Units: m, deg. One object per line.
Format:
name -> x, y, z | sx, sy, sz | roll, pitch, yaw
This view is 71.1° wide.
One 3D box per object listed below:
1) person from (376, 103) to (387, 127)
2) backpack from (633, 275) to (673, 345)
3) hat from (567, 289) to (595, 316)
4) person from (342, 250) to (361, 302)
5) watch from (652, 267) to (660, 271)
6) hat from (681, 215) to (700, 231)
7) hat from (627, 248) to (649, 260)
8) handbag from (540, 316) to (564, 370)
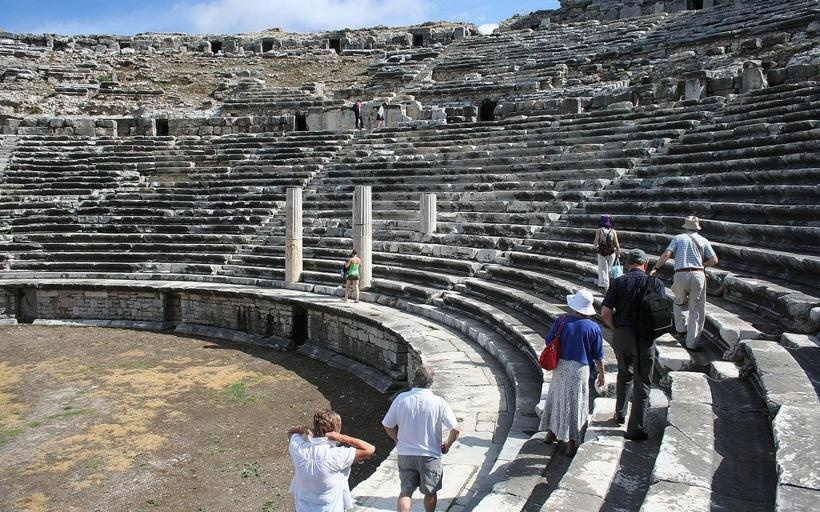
person -> -1.140, -5.979, 24.218 | 0.370, 0.985, 0.937 | 3, 5, -1
backpack -> 3.207, 0.681, 7.545 | 0.411, 0.832, 0.238 | 5, 6, 19
hat -> 2.243, 0.578, 7.597 | 0.354, 0.189, 0.374 | 4, 28, -13
person -> -1.483, 0.480, 14.996 | 0.447, 1.322, 0.872 | 2, 6, -6
watch -> 4.168, 0.201, 9.751 | 0.083, 0.047, 0.083 | 8, -14, -32
hat -> 4.804, -0.570, 9.854 | 0.441, 0.243, 0.506 | 2, 21, 25
hat -> 3.160, -0.015, 7.916 | 0.350, 0.187, 0.468 | 1, -3, 19
handbag -> 1.889, 1.165, 7.545 | 0.313, 0.643, 0.163 | 0, 7, -28
